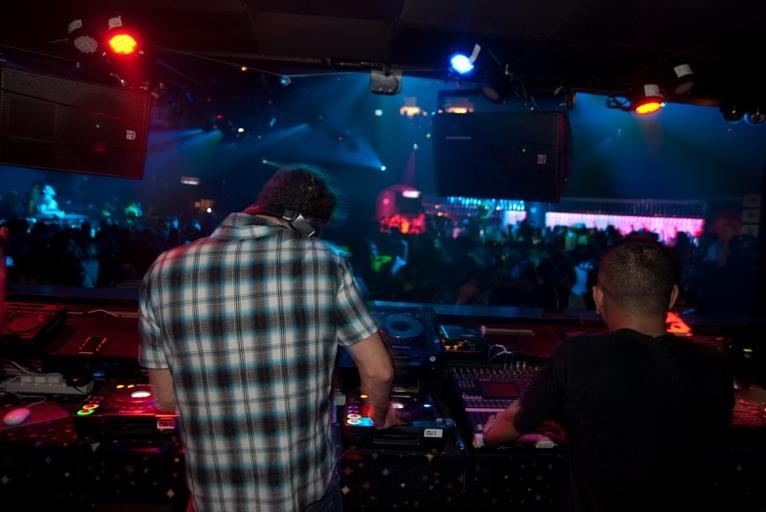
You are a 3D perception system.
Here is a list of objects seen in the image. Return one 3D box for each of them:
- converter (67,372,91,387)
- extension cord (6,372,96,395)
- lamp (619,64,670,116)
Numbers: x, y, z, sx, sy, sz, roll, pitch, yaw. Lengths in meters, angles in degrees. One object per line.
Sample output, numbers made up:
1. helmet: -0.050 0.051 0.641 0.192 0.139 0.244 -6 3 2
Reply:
1. converter: -1.836 0.738 3.698 0.102 0.095 0.031 27 22 -21
2. extension cord: -2.034 0.766 3.694 0.536 0.131 0.025 1 3 -2
3. lamp: 1.776 -1.166 4.321 0.364 0.302 0.210 3 3 19
